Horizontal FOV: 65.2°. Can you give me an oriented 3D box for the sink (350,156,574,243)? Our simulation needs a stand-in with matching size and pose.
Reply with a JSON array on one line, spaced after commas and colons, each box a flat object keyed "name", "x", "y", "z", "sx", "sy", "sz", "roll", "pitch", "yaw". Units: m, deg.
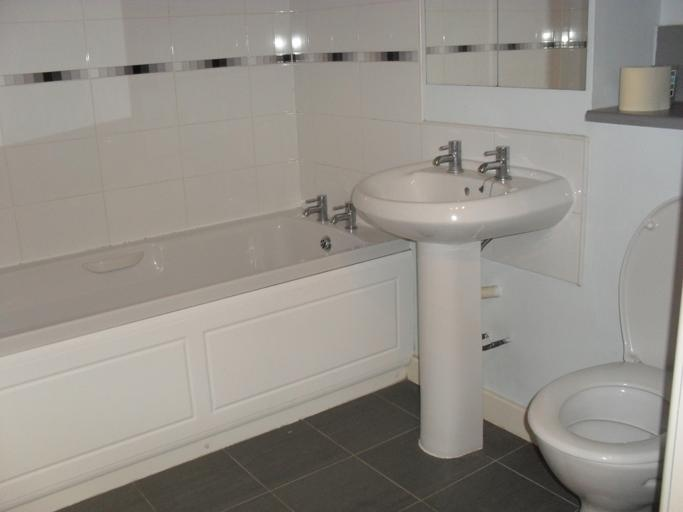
[{"name": "sink", "x": 0.433, "y": -0.177, "z": 1.864, "sx": 0.438, "sy": 0.182, "sz": 0.493, "roll": -17, "pitch": 23, "yaw": -31}]

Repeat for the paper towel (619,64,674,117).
[{"name": "paper towel", "x": 1.002, "y": -0.538, "z": 1.816, "sx": 0.255, "sy": 0.193, "sz": 0.141, "roll": -15, "pitch": 19, "yaw": -35}]
